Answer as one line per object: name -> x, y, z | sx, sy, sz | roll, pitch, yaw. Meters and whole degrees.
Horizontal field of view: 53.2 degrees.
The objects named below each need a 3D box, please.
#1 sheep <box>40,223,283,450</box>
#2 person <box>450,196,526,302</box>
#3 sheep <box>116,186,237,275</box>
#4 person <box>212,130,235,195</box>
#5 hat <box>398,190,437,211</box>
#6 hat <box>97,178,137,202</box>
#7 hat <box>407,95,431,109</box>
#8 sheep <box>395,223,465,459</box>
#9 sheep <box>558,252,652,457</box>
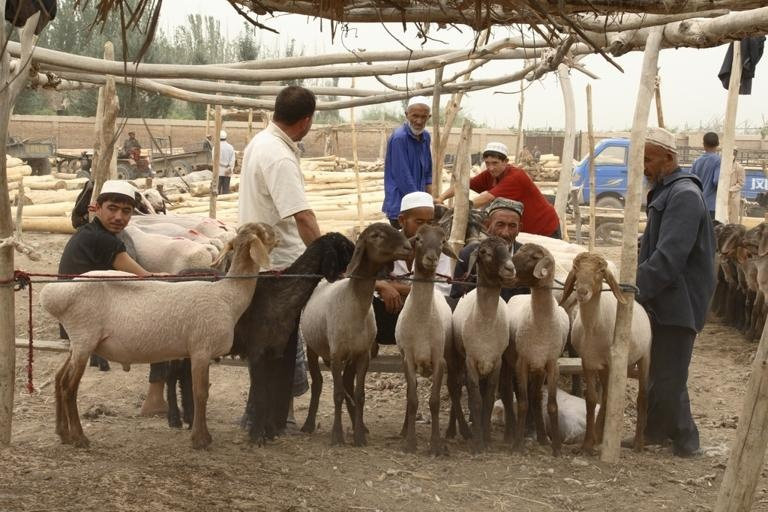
sheep -> -2.337, 0.892, 8.236 | 2.371, 2.187, 0.903 | 2, 4, -8
person -> 1.291, 0.195, 8.785 | 0.665, 1.494, 1.496 | 6, 12, 7
sheep -> -2.609, -0.353, 10.029 | 2.264, 1.333, 0.887 | 11, 11, 41
person -> -4.644, -2.549, 22.816 | 0.412, 1.589, 1.219 | 1, 14, -14
hat -> 0.379, -0.577, 8.391 | 0.323, 0.222, 0.270 | 7, 13, 13
hat -> -2.978, -0.746, 8.760 | 0.332, 0.169, 0.330 | 1, 2, 14
hat -> 0.519, -2.203, 11.065 | 0.300, 0.173, 0.587 | 4, 13, 0
sheep -> 0.436, 0.866, 8.023 | 0.618, 2.469, 0.950 | 4, 14, 2
sheep -> 2.319, 0.997, 8.087 | 1.310, 2.183, 0.711 | -5, 16, -33
